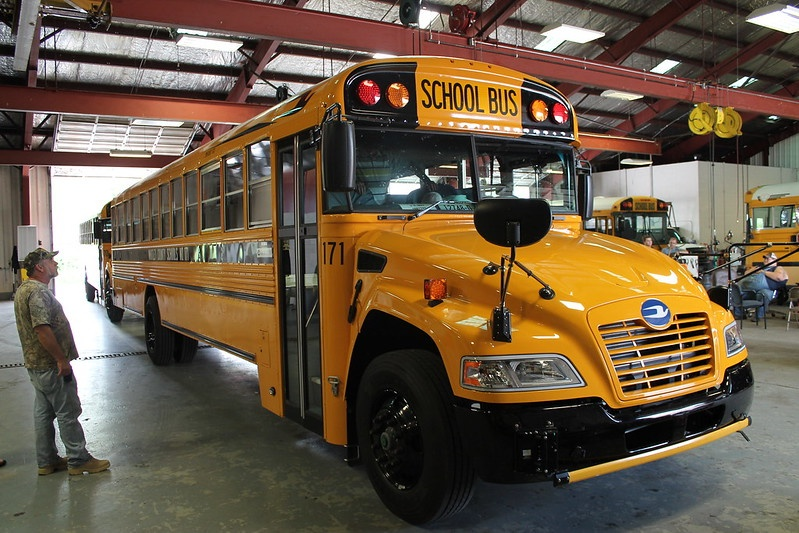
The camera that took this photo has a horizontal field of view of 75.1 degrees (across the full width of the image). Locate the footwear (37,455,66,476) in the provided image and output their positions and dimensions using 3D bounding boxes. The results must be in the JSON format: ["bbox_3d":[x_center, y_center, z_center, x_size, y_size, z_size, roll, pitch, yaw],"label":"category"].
[{"bbox_3d":[-3.709,2.132,5.568,0.119,0.145,0.331,6,12,44],"label":"footwear"}]

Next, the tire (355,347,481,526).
[{"bbox_3d":[0.122,1.372,4.226,1.138,1.423,0.259,2,6,43],"label":"tire"}]

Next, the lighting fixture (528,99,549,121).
[{"bbox_3d":[1.418,-1.560,5.263,0.209,0.202,0.049,4,1,-31],"label":"lighting fixture"}]

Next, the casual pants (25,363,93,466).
[{"bbox_3d":[-3.623,1.580,5.524,0.621,1.084,0.332,0,5,27],"label":"casual pants"}]

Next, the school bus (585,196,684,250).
[{"bbox_3d":[10.152,-1.683,23.590,2.589,2.255,4.705,0,1,2],"label":"school bus"}]

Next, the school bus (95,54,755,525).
[{"bbox_3d":[-1.663,0.022,7.824,3.152,3.102,10.601,-1,0,-31],"label":"school bus"}]

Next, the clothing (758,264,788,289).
[{"bbox_3d":[8.695,0.242,12.046,0.370,0.563,0.669,20,7,17],"label":"clothing"}]

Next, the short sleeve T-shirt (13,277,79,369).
[{"bbox_3d":[-3.780,0.603,5.459,0.584,0.921,0.387,-3,4,-13],"label":"short sleeve T-shirt"}]

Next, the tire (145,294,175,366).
[{"bbox_3d":[-4.319,1.130,9.349,0.424,1.277,1.293,1,4,-28],"label":"tire"}]
